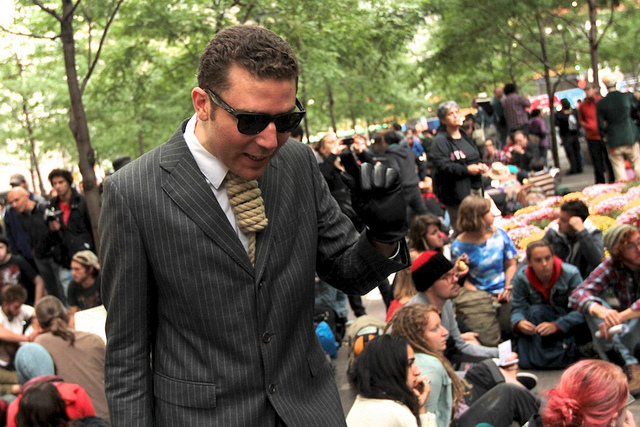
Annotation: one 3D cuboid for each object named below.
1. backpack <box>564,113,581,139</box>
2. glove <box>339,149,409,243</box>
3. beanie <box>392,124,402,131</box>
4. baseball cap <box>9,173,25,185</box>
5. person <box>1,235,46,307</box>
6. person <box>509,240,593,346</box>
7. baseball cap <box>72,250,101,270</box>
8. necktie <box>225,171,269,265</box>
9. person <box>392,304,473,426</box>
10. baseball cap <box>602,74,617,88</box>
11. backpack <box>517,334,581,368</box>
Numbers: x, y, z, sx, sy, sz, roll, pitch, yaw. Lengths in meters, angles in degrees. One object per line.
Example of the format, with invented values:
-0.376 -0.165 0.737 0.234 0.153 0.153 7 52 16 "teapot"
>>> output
7.567 -2.617 18.349 0.501 0.715 0.174 -3 9 4 "backpack"
0.293 -0.113 3.167 0.357 0.447 0.416 14 22 39 "glove"
1.914 -2.173 15.336 0.265 0.209 0.290 5 11 24 "beanie"
-5.952 -0.677 11.875 0.252 0.252 0.369 -4 -4 -28 "baseball cap"
-4.746 0.918 9.647 0.584 1.164 0.599 -4 -3 -26 "person"
2.670 0.953 7.178 0.872 1.158 0.447 -7 -3 21 "person"
-3.241 0.661 8.433 0.246 0.276 0.347 -9 -4 39 "baseball cap"
-0.381 -0.066 3.134 0.200 0.262 0.089 -5 -3 -10 "necktie"
1.017 1.438 5.618 0.684 1.180 0.570 -20 18 3 "person"
5.827 -2.670 12.186 0.256 0.258 0.197 -7 -3 19 "baseball cap"
2.618 1.578 7.099 0.746 0.297 0.630 -1 -2 14 "backpack"
